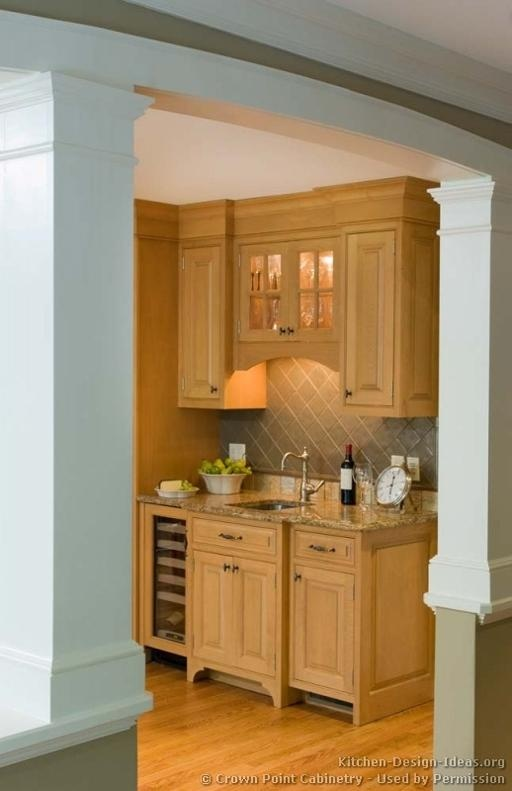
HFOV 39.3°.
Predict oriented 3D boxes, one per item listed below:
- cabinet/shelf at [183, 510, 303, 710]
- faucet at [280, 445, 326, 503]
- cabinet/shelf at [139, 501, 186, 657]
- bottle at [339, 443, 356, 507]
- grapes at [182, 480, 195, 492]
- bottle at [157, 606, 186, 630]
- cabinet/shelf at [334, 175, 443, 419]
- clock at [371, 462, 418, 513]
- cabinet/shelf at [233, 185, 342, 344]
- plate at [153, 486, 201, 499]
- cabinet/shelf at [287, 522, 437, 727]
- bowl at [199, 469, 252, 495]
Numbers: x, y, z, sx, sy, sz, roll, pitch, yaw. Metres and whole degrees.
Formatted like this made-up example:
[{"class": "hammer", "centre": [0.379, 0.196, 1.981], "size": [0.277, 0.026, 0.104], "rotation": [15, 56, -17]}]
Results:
[{"class": "cabinet/shelf", "centre": [0.031, 1.175, 4.263], "size": [0.741, 1.005, 0.522], "rotation": [-4, -7, 40]}, {"class": "faucet", "centre": [0.310, 0.494, 4.398], "size": [0.344, 0.461, 0.221], "rotation": [2, -3, -42]}, {"class": "cabinet/shelf", "centre": [-0.580, 1.116, 4.443], "size": [0.158, 0.916, 0.497], "rotation": [3, -4, -43]}, {"class": "bottle", "centre": [0.542, 0.461, 4.207], "size": [0.091, 0.348, 0.271], "rotation": [-1, -3, 7]}, {"class": "grapes", "centre": [-0.420, 0.557, 4.480], "size": [0.062, 0.022, 0.063], "rotation": [24, 1, 35]}, {"class": "bottle", "centre": [-0.511, 1.383, 4.440], "size": [0.115, 0.151, 0.036], "rotation": [22, 8, 39]}, {"class": "cabinet/shelf", "centre": [0.697, -0.513, 3.937], "size": [0.332, 1.249, 0.539], "rotation": [-5, 7, -44]}, {"class": "clock", "centre": [0.782, 0.516, 3.972], "size": [0.062, 0.268, 0.238], "rotation": [13, -12, -33]}, {"class": "cabinet/shelf", "centre": [0.219, -0.704, 4.299], "size": [0.689, 0.812, 0.212], "rotation": [1, 7, 17]}, {"class": "plate", "centre": [-0.512, 0.605, 4.480], "size": [0.283, 0.066, 0.210], "rotation": [-1, -2, 6]}, {"class": "cabinet/shelf", "centre": [0.582, 1.169, 3.924], "size": [0.648, 0.996, 0.544], "rotation": [4, -6, -36]}, {"class": "bowl", "centre": [-0.247, 0.567, 4.667], "size": [0.372, 0.146, 0.227], "rotation": [-2, -3, 29]}]
